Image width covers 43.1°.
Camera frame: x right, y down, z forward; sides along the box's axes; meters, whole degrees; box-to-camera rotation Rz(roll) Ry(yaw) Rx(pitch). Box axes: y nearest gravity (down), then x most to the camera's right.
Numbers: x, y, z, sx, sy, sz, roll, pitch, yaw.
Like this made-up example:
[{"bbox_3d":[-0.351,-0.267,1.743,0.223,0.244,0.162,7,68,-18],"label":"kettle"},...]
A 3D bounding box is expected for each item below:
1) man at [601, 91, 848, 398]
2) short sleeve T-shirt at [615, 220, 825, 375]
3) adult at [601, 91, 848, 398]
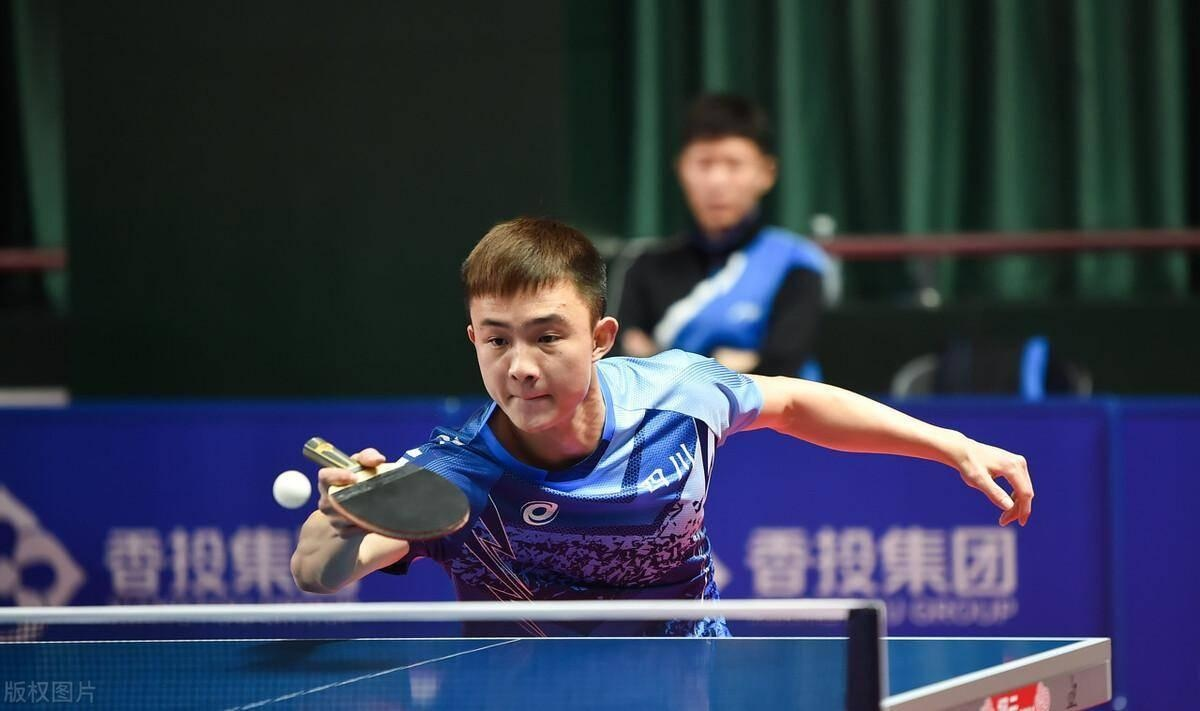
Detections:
[{"bbox_3d":[0.652,-0.499,8.201,1.130,1.727,1.058,2,6,-5],"label":"man"},{"bbox_3d":[0.733,-0.312,8.421,1.249,1.248,0.732,1,0,16],"label":"short sleeve T-shirt"},{"bbox_3d":[0.632,-0.509,8.222,1.142,1.746,1.015,2,9,-4],"label":"adult"}]
